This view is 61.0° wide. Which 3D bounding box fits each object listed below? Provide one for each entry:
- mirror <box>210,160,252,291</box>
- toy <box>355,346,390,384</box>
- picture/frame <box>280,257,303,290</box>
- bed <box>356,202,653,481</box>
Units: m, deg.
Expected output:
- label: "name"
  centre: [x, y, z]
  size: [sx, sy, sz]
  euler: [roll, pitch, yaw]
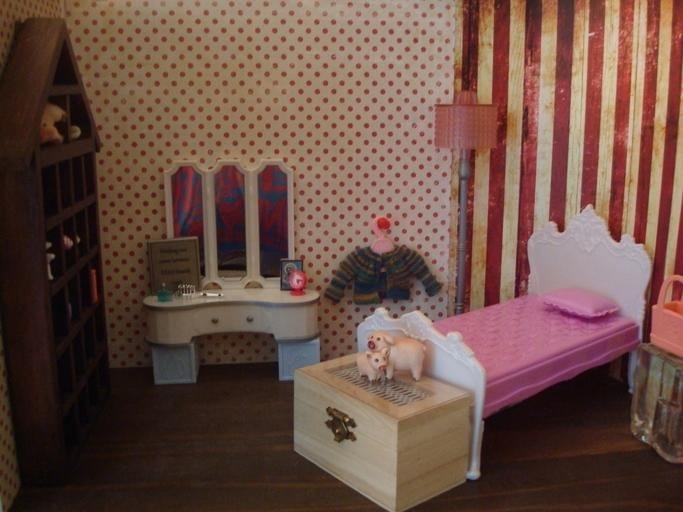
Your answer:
- label: "mirror"
  centre: [-1.029, -0.339, 5.527]
  size: [0.339, 1.046, 0.155]
  euler: [-7, 15, -13]
- label: "toy"
  centre: [0.216, 0.760, 3.986]
  size: [0.115, 0.171, 0.299]
  euler: [-2, 4, -18]
- label: "picture/frame"
  centre: [-0.462, 0.175, 5.494]
  size: [0.273, 0.403, 0.038]
  euler: [0, -4, -2]
- label: "bed"
  centre: [1.414, 0.533, 4.796]
  size: [2.024, 1.669, 1.318]
  euler: [-11, 15, -33]
